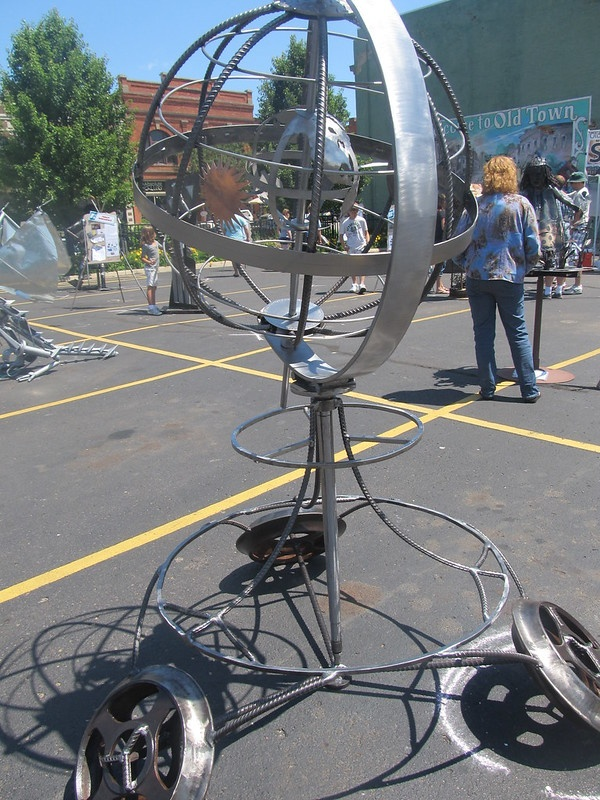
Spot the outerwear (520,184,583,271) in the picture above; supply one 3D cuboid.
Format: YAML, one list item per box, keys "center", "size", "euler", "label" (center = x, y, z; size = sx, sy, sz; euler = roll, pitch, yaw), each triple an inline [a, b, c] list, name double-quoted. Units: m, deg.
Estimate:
- center: [2.384, -1.759, 6.077]
  size: [0.644, 0.945, 0.233]
  euler: [11, 35, 44]
  label: "outerwear"

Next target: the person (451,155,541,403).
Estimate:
- center: [1.624, -1.017, 5.167]
  size: [0.710, 1.921, 0.596]
  euler: [3, 4, 37]
  label: "person"
